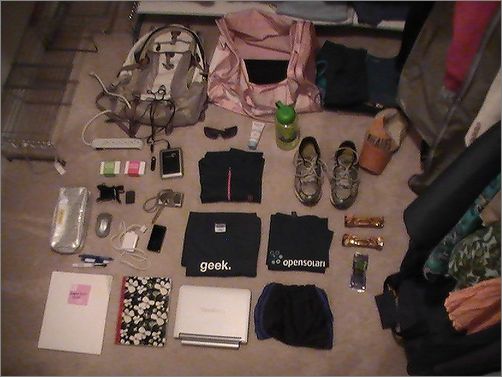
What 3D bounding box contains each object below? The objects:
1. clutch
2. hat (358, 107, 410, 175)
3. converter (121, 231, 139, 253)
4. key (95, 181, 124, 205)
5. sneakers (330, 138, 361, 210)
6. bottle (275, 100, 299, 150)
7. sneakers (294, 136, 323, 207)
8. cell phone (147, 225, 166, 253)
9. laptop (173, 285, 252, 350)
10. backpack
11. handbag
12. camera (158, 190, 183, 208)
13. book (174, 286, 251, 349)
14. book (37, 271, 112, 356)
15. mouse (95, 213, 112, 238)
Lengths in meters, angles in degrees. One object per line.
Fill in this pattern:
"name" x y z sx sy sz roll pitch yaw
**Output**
"clutch" -1.103 0.193 2.850 0.221 0.093 0.400 0 77 5
"hat" 0.810 -0.274 2.814 0.220 0.238 0.389 31 79 -4
"converter" -0.727 0.318 2.812 0.084 0.027 0.118 11 71 10
"key" -0.878 0.027 2.923 0.174 0.053 0.111 3 59 1
"sneakers" 0.560 -0.070 2.786 0.167 0.164 0.418 3 81 9
"bottle" 0.230 -0.391 2.855 0.161 0.313 0.164 0 58 0
"sneakers" 0.342 -0.100 2.802 0.157 0.163 0.421 0 76 4
"cell phone" -0.572 0.301 2.791 0.087 0.036 0.157 13 78 1
"laptop" -0.222 0.733 2.687 0.417 0.103 0.309 4 59 2
"backpack" -0.573 -0.704 2.989 0.589 0.268 0.759 10 74 7
"handbag" 0.071 -0.780 2.977 0.721 0.380 0.615 -4 59 -3
"camera" -0.496 0.059 2.892 0.161 0.056 0.102 2 59 1
"book" -0.224 0.738 2.728 0.400 0.095 0.322 4 78 7
"book" -1.040 0.732 2.710 0.404 0.020 0.479 5 80 5
"mouse" -0.909 0.227 2.877 0.103 0.068 0.138 5 59 3
